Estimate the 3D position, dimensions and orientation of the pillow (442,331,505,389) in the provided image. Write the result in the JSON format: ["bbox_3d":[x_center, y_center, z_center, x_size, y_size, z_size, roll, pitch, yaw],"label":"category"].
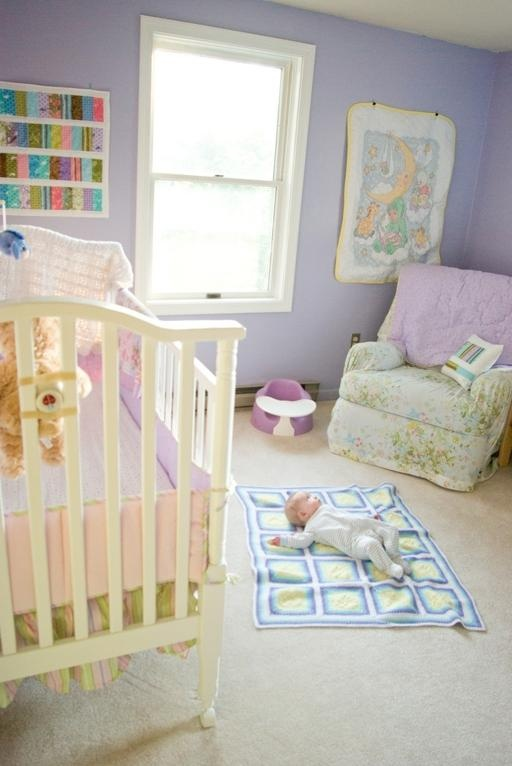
[{"bbox_3d":[1.087,-0.077,2.950,0.076,0.245,0.257,37,8,-22],"label":"pillow"}]

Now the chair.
[{"bbox_3d":[0.142,0.121,3.337,0.315,0.199,0.320,0,21,-6],"label":"chair"}]

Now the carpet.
[{"bbox_3d":[0.319,0.598,2.198,0.736,0.059,0.833,4,19,-6],"label":"carpet"}]
